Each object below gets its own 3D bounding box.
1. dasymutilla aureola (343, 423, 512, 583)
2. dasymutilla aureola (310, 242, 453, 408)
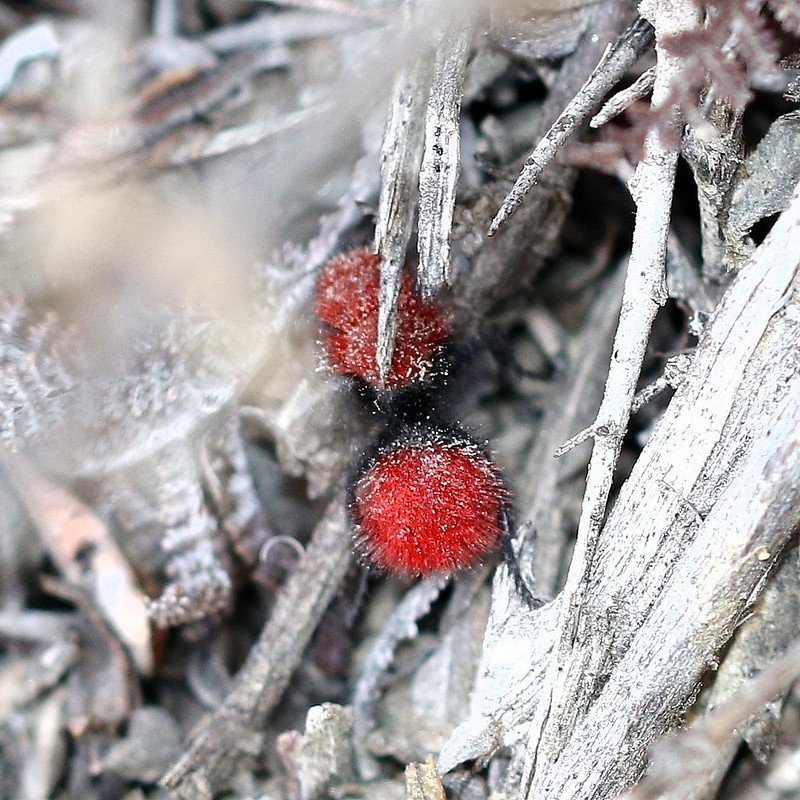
[{"bbox_3d":[0.038,0.130,1.621,0.207,0.118,0.196,-4,80,1],"label":"dasymutilla aureola"},{"bbox_3d":[-0.033,-0.101,1.677,0.214,0.122,0.164,35,82,7],"label":"dasymutilla aureola"}]
